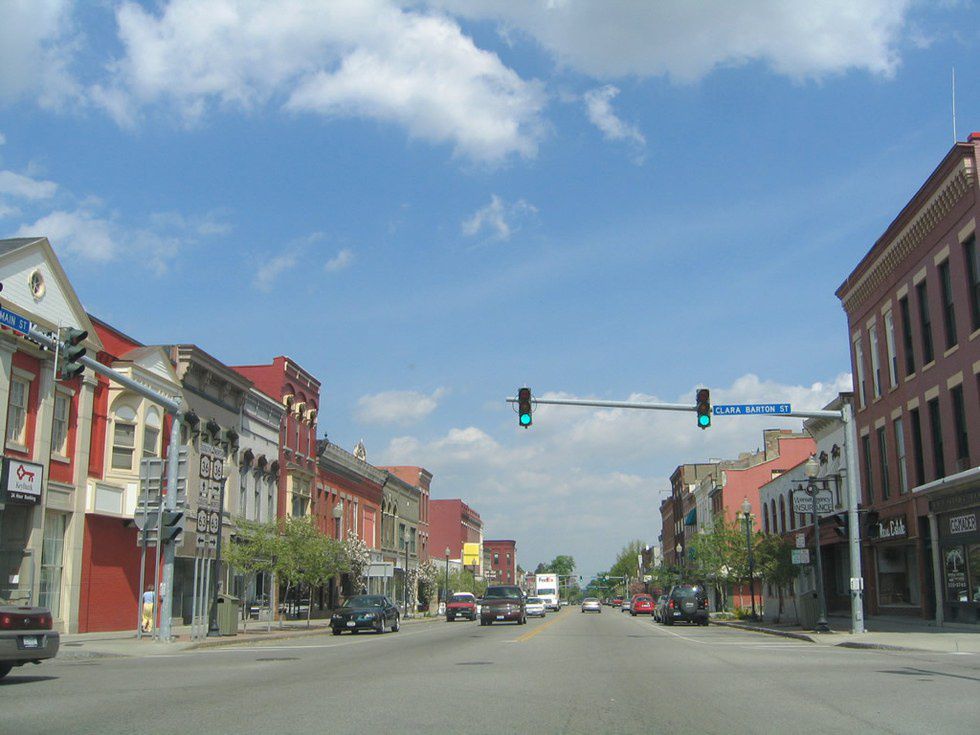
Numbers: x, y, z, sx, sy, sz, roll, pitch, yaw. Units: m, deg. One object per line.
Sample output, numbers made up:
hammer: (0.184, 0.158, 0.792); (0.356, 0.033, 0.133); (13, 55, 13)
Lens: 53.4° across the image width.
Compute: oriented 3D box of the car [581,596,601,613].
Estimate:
car: (9.642, 22.533, 92.430); (1.214, 1.061, 3.018); (-1, -14, 3)

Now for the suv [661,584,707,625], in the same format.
suv: (10.017, 12.069, 50.018); (1.364, 1.420, 2.692); (0, -7, 6)

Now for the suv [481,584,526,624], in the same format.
suv: (0.651, 12.251, 50.369); (2.171, 2.347, 2.559); (-2, -21, -2)

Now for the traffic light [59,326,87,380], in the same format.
traffic light: (-10.694, -0.443, 24.925); (0.609, 1.401, 1.726); (7, -23, -24)

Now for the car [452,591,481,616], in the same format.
car: (-1.631, 16.896, 68.828); (1.099, 1.155, 2.277); (-1, -25, 2)

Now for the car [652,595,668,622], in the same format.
car: (9.542, 13.270, 53.188); (1.073, 1.170, 2.039); (1, -2, 2)

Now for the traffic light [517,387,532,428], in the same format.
traffic light: (1.121, 1.252, 30.788); (0.372, 1.078, 0.512); (2, -19, -11)

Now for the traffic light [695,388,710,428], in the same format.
traffic light: (6.905, 1.313, 31.200); (0.444, 1.183, 0.431); (-4, -19, 5)
